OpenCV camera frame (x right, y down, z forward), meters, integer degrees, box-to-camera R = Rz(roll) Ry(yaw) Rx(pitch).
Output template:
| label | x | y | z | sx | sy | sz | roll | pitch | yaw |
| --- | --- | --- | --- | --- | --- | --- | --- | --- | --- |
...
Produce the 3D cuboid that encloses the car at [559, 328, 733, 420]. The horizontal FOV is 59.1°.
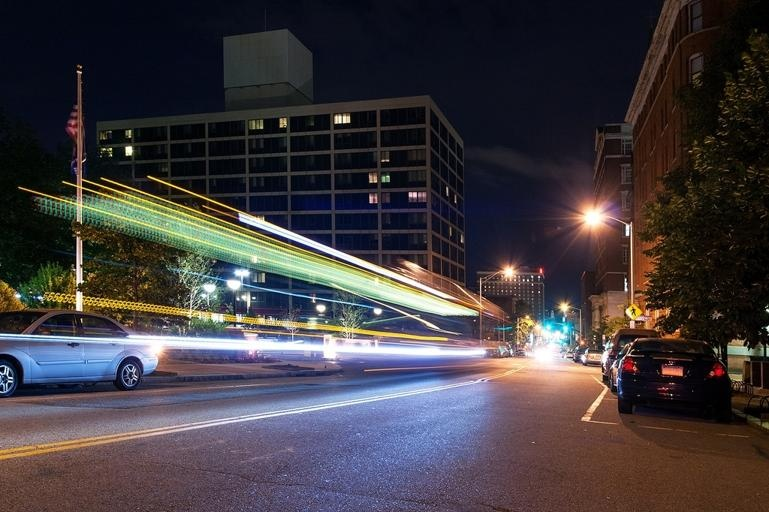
| label | x | y | z | sx | sy | sz | roll | pitch | yaw |
| --- | --- | --- | --- | --- | --- | --- | --- | --- | --- |
| car | 7.885 | 3.294 | 18.511 | 2.824 | 2.268 | 1.770 | -4 | -12 | 22 |
